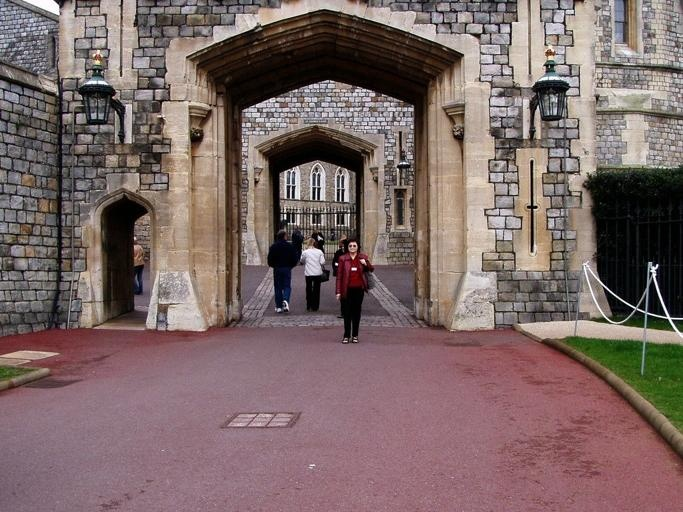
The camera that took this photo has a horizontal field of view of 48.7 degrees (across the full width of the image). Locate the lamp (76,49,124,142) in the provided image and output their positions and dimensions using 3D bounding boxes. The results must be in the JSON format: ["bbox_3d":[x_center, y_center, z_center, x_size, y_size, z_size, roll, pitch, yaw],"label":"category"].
[{"bbox_3d":[-4.524,-3.002,14.255,0.703,1.753,1.047,-1,6,-10],"label":"lamp"}]

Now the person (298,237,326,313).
[{"bbox_3d":[-0.690,0.401,17.530,0.490,1.707,1.692,0,7,-3],"label":"person"}]

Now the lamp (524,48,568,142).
[{"bbox_3d":[3.902,-3.089,14.316,0.686,1.754,0.965,1,6,15],"label":"lamp"}]

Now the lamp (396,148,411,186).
[{"bbox_3d":[2.388,-3.395,29.172,0.500,1.373,1.097,0,7,6],"label":"lamp"}]

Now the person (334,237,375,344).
[{"bbox_3d":[0.210,0.620,13.150,0.604,1.789,0.879,0,6,1],"label":"person"}]
